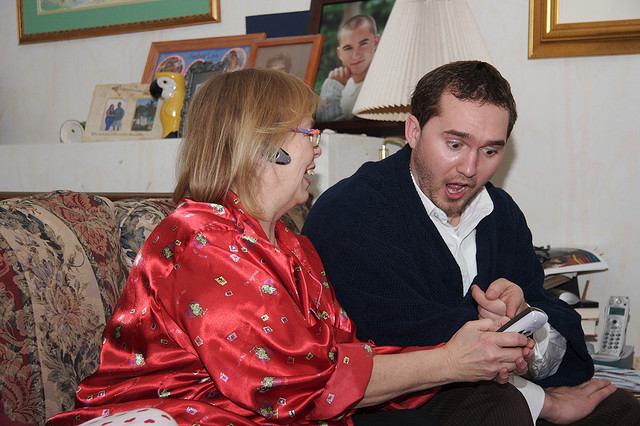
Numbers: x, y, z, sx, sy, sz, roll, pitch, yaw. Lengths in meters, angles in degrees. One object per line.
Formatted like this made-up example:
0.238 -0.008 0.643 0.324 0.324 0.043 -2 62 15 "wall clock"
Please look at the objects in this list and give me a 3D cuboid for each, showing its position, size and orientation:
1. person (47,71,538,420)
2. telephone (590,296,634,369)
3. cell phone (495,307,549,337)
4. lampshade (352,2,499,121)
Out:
-0.100 0.083 1.413 1.128 0.633 0.440 2 1 -27 "person"
1.257 0.509 2.209 0.243 0.325 0.108 2 1 -43 "telephone"
0.623 0.331 1.599 0.153 0.082 0.037 -23 22 -16 "cell phone"
0.454 -0.482 2.248 0.520 0.502 0.505 -3 -7 31 "lampshade"
